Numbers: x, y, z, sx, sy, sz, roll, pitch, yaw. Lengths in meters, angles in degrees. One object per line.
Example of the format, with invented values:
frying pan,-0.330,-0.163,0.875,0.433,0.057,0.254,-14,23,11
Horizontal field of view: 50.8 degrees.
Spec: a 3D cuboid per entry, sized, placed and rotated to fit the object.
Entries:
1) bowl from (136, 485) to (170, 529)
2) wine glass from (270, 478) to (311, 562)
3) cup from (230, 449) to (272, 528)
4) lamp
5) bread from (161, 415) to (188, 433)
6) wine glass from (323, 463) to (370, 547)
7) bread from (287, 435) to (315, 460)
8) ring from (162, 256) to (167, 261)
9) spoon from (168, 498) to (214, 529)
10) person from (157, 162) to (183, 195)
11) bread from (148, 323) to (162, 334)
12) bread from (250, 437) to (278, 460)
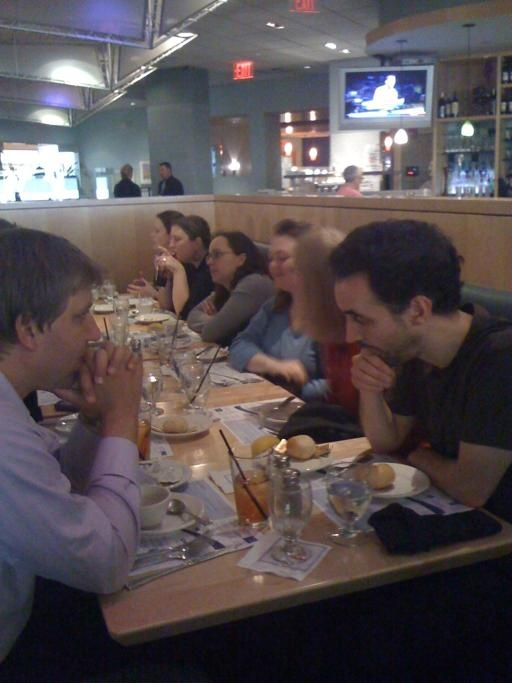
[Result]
bowl,-0.178,0.284,0.931,0.055,0.042,0.055,0,7,0
wine glass,0.055,0.273,0.874,0.063,0.106,0.157,1,11,1
cup,-0.010,0.262,0.946,0.063,0.111,0.065,0,11,0
lamp,2.060,-3.207,6.674,1.318,0.559,1.270,0,10,0
bread,-0.212,0.213,1.390,0.049,0.029,0.048,6,0,9
wine glass,0.154,0.271,0.908,0.084,0.128,0.088,-3,5,-14
bread,0.098,0.233,1.181,0.054,0.041,0.054,-4,18,-12
ring,-0.639,-0.571,3.737,0.028,0.027,0.009,-1,-9,0
spoon,-0.126,0.303,0.957,0.028,0.017,0.117,-15,16,-24
person,-1.464,-2.769,9.096,0.321,0.698,1.592,-2,11,-10
bread,-0.523,-0.071,2.812,0.096,0.063,0.055,4,9,43
bread,0.017,0.237,1.194,0.042,0.042,0.079,0,-8,-18
